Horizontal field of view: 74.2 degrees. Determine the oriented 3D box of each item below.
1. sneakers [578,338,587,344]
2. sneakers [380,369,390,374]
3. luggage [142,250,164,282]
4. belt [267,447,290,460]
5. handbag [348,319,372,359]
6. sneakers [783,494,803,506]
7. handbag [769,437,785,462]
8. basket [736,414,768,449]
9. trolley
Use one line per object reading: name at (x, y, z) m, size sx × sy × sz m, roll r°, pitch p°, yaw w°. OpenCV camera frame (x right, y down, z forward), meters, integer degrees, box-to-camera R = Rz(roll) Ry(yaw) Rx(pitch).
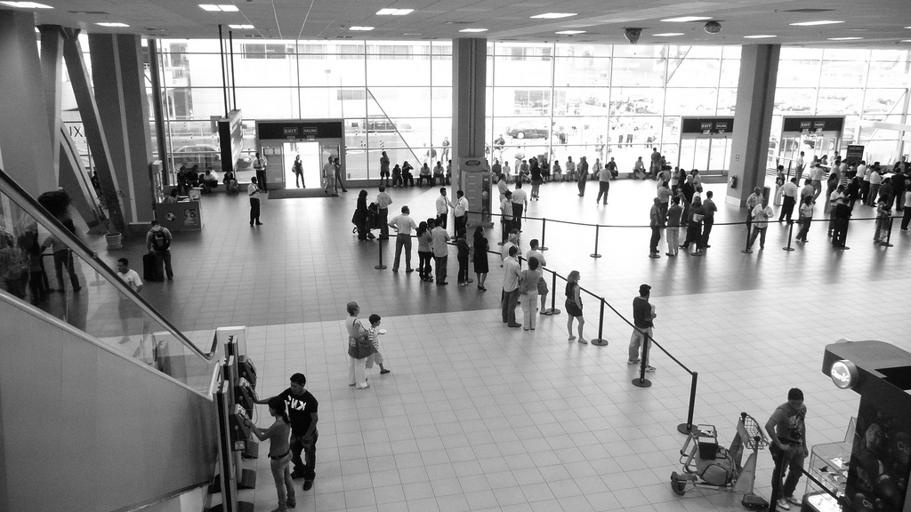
sneakers at (2.999, 2.001, 14.240) m, size 0.216 × 0.176 × 0.097 m, roll -3°, pitch 20°, yaw -2°
sneakers at (-1.531, 2.519, 13.163) m, size 0.180 × 0.057 × 0.083 m, roll -4°, pitch 12°, yaw -14°
luggage at (-8.743, 0.322, 17.401) m, size 0.540 × 0.822 × 0.356 m, roll -7°, pitch 16°, yaw -20°
belt at (-2.893, 3.242, 9.910) m, size 0.298 × 0.232 × 0.124 m, roll -7°, pitch 16°, yaw -22°
handbag at (-1.944, 1.739, 12.445) m, size 0.493 × 0.928 × 0.260 m, roll -4°, pitch 15°, yaw -11°
sneakers at (5.761, 4.144, 10.252) m, size 0.303 × 0.104 × 0.108 m, roll 6°, pitch 21°, yaw 23°
handbag at (5.267, 3.154, 9.818) m, size 0.216 × 0.330 × 0.378 m, roll 4°, pitch 15°, yaw 20°
basket at (5.103, 3.056, 10.251) m, size 0.388 × 0.213 × 0.622 m, roll 7°, pitch 19°, yaw 4°
trolley at (4.693, 3.550, 10.862) m, size 1.669 × 1.191 × 1.207 m, roll 1°, pitch 6°, yaw 9°
